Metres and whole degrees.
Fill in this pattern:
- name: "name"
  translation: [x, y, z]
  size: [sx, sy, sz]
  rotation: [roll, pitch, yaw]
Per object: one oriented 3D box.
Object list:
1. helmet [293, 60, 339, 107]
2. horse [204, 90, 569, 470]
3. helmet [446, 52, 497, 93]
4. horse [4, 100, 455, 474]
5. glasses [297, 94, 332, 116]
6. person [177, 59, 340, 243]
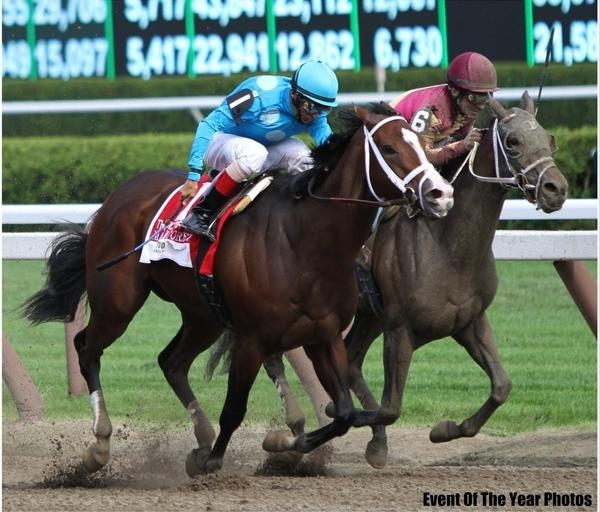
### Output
- name: "helmet"
  translation: [0.090, -0.908, 6.524]
  size: [0.248, 0.197, 0.350]
  rotation: [2, 20, -26]
- name: "horse"
  translation: [0.609, 0.282, 7.173]
  size: [0.654, 1.991, 2.741]
  rotation: [6, -6, -24]
- name: "helmet"
  translation: [0.930, -0.989, 6.728]
  size: [0.284, 0.217, 0.370]
  rotation: [-1, 10, -26]
- name: "horse"
  translation: [-0.433, 0.280, 6.954]
  size: [3.031, 2.041, 0.779]
  rotation: [-1, 1, 38]
- name: "glasses"
  translation: [0.056, -0.772, 6.495]
  size: [0.112, 0.035, 0.112]
  rotation: [40, 14, 34]
- name: "person"
  translation: [-0.160, -0.618, 6.787]
  size: [0.763, 1.093, 0.694]
  rotation: [15, 20, -8]
